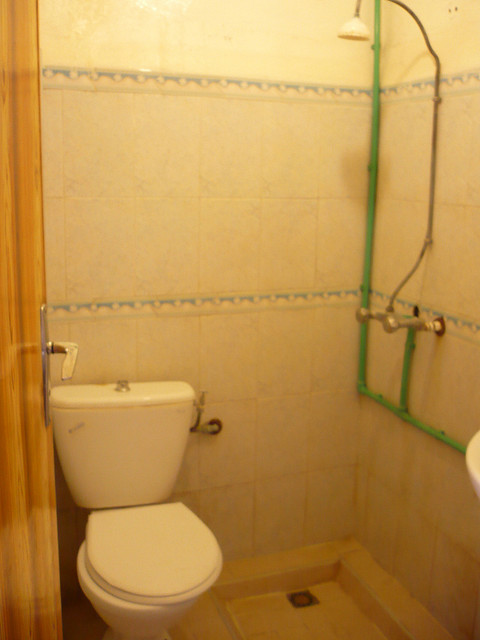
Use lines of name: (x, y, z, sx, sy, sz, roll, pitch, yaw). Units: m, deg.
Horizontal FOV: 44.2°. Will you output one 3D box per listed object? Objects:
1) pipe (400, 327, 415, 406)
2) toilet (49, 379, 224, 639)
pipe: (0.536, 0.152, 1.900, 0.023, 0.257, 0.036, 7, 16, 17)
toilet: (-0.281, 0.627, 1.696, 0.463, 0.801, 0.644, -3, 16, -18)
